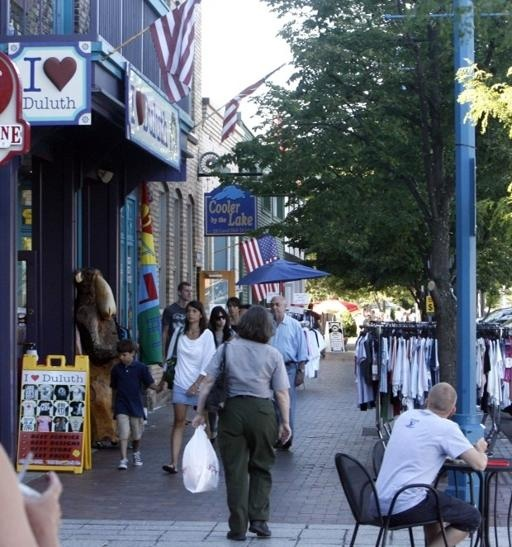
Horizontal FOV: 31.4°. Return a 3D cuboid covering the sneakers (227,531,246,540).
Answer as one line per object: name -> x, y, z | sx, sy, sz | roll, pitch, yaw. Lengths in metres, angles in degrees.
sneakers -> -0.130, 1.841, 6.467 | 0.125, 0.065, 0.054 | 11, 0, 20

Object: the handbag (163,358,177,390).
handbag -> -0.878, 1.030, 9.374 | 0.212, 0.284, 0.183 | 1, 4, -1

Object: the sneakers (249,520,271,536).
sneakers -> 0.035, 1.823, 6.533 | 0.072, 0.105, 0.184 | 0, -13, 44

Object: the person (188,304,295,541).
person -> -0.084, 1.073, 6.701 | 0.682, 1.661, 0.551 | -3, -2, -2

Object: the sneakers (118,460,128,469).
sneakers -> -1.365, 1.959, 9.371 | 0.052, 0.082, 0.162 | 1, 3, -1

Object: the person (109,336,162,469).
person -> -1.282, 1.358, 9.597 | 0.435, 1.316, 0.529 | -2, -2, -15

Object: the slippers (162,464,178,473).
slippers -> -0.846, 1.941, 9.062 | 0.153, 0.091, 0.247 | -3, -3, -7
